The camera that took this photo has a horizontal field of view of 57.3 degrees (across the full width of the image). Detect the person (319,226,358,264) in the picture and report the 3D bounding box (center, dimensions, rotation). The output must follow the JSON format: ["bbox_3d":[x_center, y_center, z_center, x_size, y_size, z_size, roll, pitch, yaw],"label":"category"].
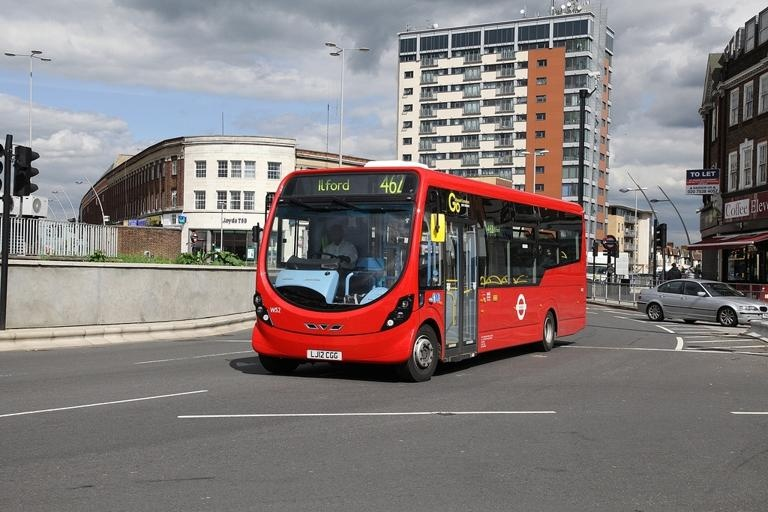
[{"bbox_3d":[-0.810,-0.228,13.049,0.340,0.736,0.801,-1,1,-45],"label":"person"}]

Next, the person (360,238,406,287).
[{"bbox_3d":[-0.025,0.123,12.832,0.903,0.951,0.338,0,1,16],"label":"person"}]

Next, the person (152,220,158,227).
[{"bbox_3d":[-25.145,-3.547,77.810,0.661,0.577,2.511,0,0,-13],"label":"person"}]

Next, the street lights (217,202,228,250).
[{"bbox_3d":[-17.378,-3.207,76.056,0.594,4.821,0.904,-1,1,-14],"label":"street lights"}]

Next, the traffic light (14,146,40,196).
[{"bbox_3d":[-8.986,-2.154,17.674,0.537,1.218,1.056,-1,1,-34],"label":"traffic light"}]
